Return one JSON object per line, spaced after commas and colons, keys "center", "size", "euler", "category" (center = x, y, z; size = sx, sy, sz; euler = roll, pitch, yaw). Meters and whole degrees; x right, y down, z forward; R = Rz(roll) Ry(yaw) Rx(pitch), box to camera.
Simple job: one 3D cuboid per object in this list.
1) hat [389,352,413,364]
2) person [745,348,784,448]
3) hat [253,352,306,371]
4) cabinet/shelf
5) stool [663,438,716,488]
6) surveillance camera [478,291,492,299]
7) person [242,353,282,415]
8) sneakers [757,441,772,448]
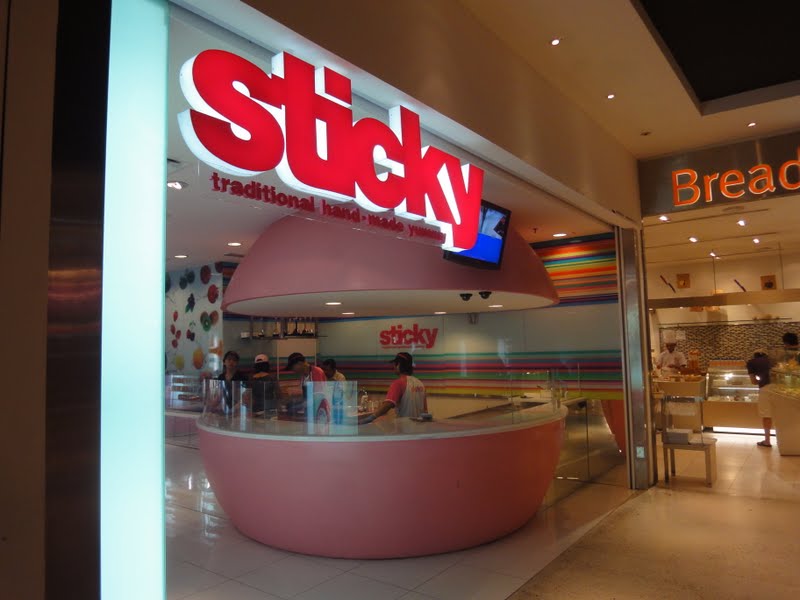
{"center": [0.021, 0.502, 5.065], "size": [0.178, 0.085, 0.257], "euler": [2, -6, -8], "category": "hat"}
{"center": [5.247, 1.430, 8.298], "size": [0.349, 1.267, 1.427], "euler": [-2, -2, 33], "category": "person"}
{"center": [-1.045, 0.555, 5.001], "size": [0.358, 0.149, 0.201], "euler": [-2, 0, -12], "category": "hat"}
{"center": [5.605, 1.435, 9.242], "size": [1.115, 0.734, 1.226], "euler": [-17, 4, 42], "category": "cabinet/shelf"}
{"center": [3.220, 1.786, 6.298], "size": [0.296, 0.506, 0.541], "euler": [-1, -25, 19], "category": "stool"}
{"center": [0.802, -0.047, 5.398], "size": [0.079, 0.032, 0.079], "euler": [3, -12, -18], "category": "surveillance camera"}
{"center": [-1.086, 0.658, 4.527], "size": [0.225, 0.396, 0.735], "euler": [0, -2, -15], "category": "person"}
{"center": [5.067, 2.021, 7.959], "size": [0.086, 0.071, 0.167], "euler": [1, 2, -30], "category": "sneakers"}
